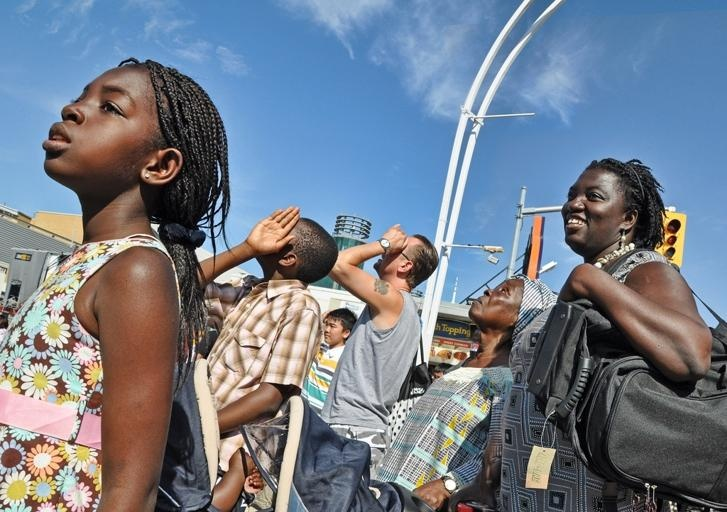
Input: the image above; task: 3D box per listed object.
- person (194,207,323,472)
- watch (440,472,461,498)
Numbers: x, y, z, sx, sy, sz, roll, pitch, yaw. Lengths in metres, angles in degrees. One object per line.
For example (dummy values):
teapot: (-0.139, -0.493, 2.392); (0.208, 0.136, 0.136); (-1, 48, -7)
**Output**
person: (-0.563, 0.472, 2.744); (0.517, 0.544, 1.425); (26, 23, -7)
watch: (0.554, 1.482, 3.252); (0.073, 0.113, 0.115); (-12, 40, -36)
